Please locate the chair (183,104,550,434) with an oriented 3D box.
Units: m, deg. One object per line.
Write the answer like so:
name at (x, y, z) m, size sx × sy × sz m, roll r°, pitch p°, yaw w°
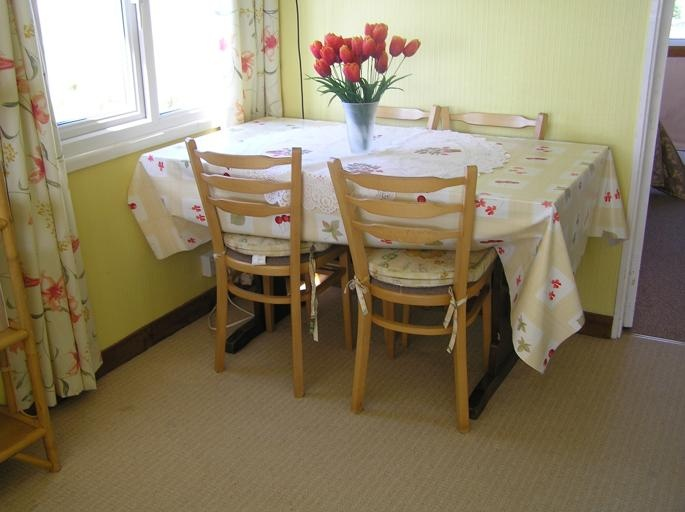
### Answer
chair at (0.097, 0.044, 2.230) m, size 1.213 × 1.040 × 0.606 m, roll 10°, pitch 28°, yaw 24°
